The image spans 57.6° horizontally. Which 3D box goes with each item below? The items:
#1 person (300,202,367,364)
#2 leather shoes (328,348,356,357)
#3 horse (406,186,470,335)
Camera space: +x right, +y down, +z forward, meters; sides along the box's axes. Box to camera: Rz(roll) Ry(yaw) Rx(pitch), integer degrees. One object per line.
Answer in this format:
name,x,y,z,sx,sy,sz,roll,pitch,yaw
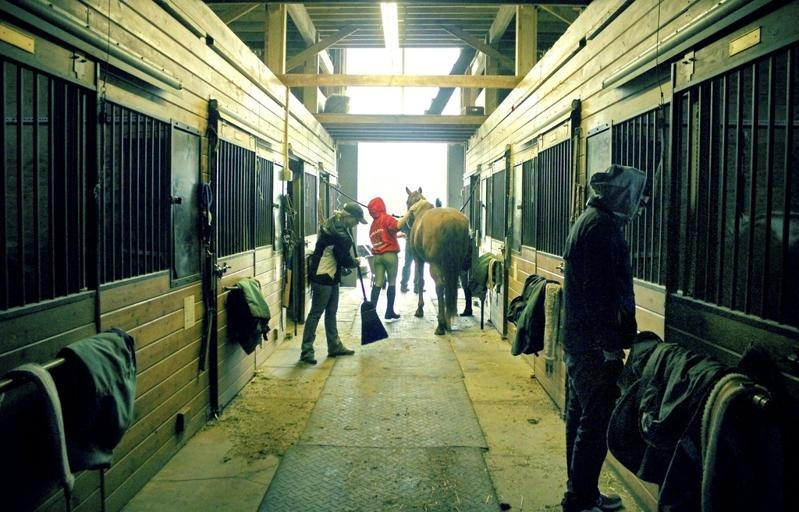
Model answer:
person,-0.780,0.342,7.829,0.396,1.542,0.744,10,15,34
leather shoes,-0.638,1.037,8.064,0.286,0.140,0.104,-2,2,-15
horse,0.455,-0.019,10.540,0.707,1.928,2.667,0,7,-11
